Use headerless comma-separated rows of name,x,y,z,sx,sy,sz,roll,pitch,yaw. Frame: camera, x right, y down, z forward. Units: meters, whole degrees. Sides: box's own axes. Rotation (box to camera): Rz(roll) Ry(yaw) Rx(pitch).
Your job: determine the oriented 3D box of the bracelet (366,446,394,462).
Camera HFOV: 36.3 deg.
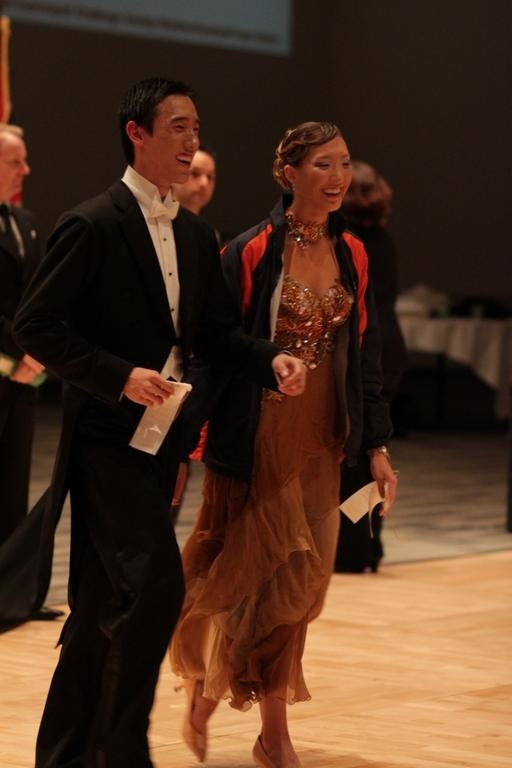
bracelet,0.292,0.164,1.823,0.046,0.033,0.016,6,25,-10
